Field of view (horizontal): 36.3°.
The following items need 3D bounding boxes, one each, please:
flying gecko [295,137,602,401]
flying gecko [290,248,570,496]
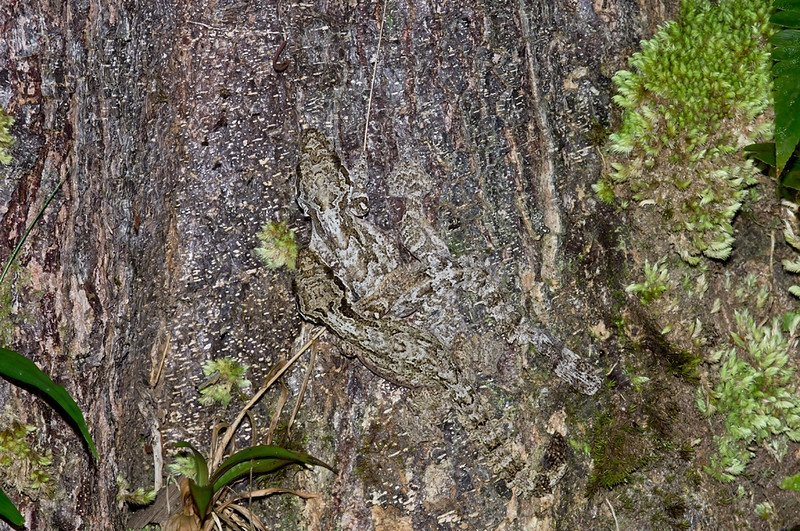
[{"bbox_3d":[0.175,0.306,7.116,0.986,0.350,2.045,-40,93,6],"label":"flying gecko"},{"bbox_3d":[0.110,0.593,6.983,1.634,0.775,0.355,28,62,18],"label":"flying gecko"}]
